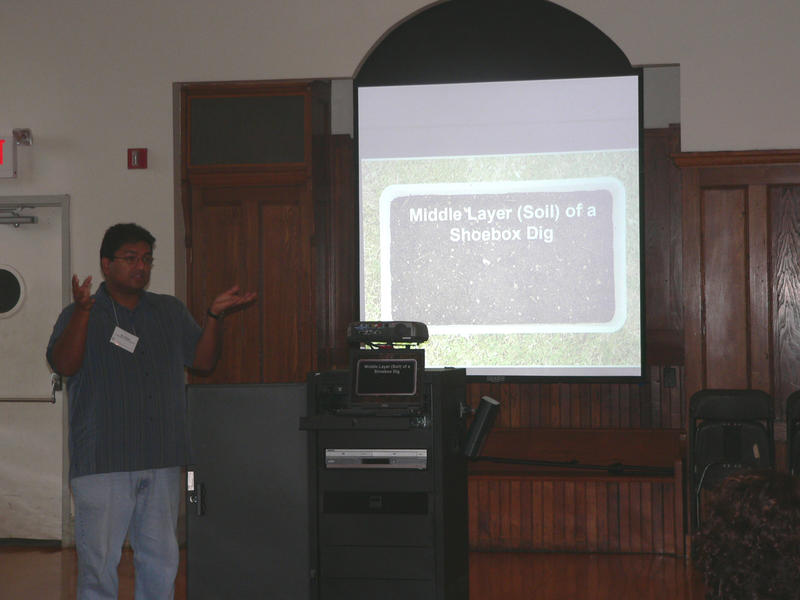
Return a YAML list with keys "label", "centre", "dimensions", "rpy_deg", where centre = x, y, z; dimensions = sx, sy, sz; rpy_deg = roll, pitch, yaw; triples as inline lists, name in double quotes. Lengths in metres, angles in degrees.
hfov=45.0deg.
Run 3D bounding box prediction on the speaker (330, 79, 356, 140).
- label: "speaker"
  centre: [-0.376, -1.247, 6.235]
  dimensions: [0.150, 0.353, 0.049]
  rpy_deg: [0, 0, -2]
